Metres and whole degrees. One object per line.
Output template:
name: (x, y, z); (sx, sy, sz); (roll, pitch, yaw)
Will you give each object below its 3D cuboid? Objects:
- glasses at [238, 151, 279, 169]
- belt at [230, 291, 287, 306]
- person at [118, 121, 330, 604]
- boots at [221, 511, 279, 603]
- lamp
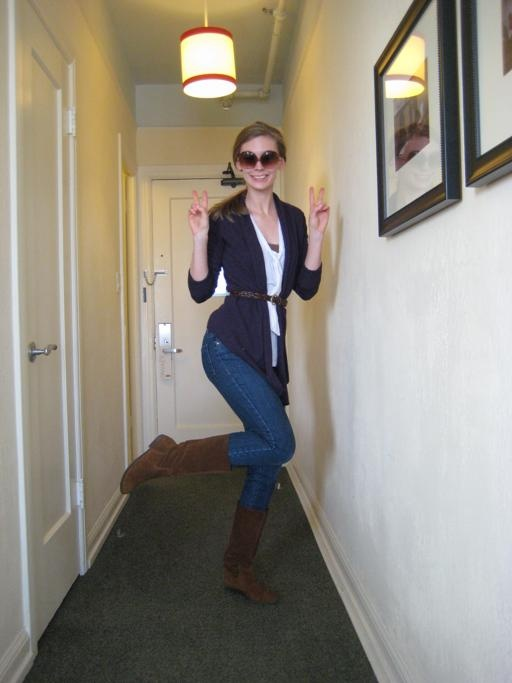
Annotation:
glasses: (0.008, -0.633, 1.741); (0.143, 0.060, 0.065); (-2, 0, 1)
belt: (0.006, -0.148, 1.750); (0.204, 0.057, 0.074); (-2, 0, -2)
person: (-0.076, -0.156, 1.788); (0.692, 1.524, 0.334); (-1, 0, -4)
boots: (-0.025, 0.741, 1.744); (0.176, 0.325, 0.128); (-2, 0, -7)
lamp: (-0.239, -1.386, 2.470); (0.264, 0.398, 0.259); (-2, 0, -7)
